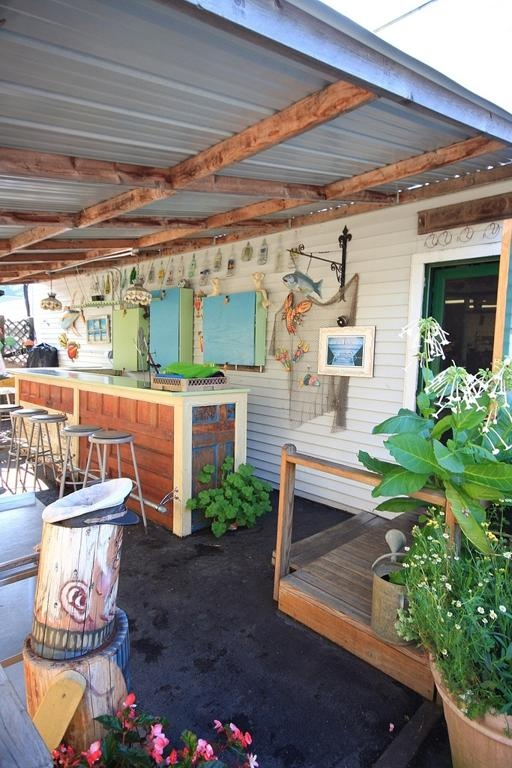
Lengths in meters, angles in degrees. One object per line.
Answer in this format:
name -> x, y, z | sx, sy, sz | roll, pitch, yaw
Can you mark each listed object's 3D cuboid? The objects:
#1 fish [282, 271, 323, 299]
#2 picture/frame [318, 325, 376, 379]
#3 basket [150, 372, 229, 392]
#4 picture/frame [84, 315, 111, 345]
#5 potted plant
fish -> 0.460, -0.948, 4.701 | 0.335, 0.182, 0.077 | 10, -6, -30
picture/frame -> 0.797, -0.289, 4.380 | 0.066, 0.443, 0.595 | -2, 6, -39
basket -> -0.518, -0.012, 3.942 | 0.618, 0.128, 0.385 | 1, 4, -12
picture/frame -> -2.803, -0.979, 8.776 | 0.045, 0.428, 0.610 | -15, 9, -39
potted plant -> -0.219, 0.915, 4.034 | 0.810, 0.595, 0.275 | -2, 6, -40
